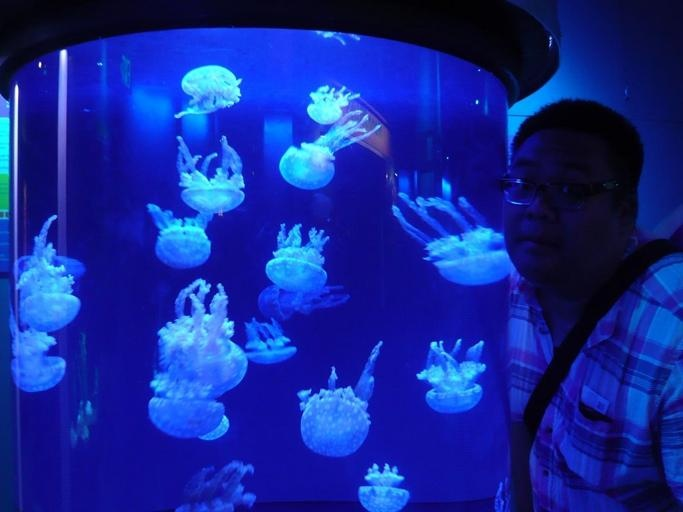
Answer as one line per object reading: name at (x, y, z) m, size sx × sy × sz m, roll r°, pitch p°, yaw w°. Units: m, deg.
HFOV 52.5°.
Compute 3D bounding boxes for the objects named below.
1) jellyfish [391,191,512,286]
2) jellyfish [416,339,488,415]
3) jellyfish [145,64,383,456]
jellyfish at (0.471, -0.113, 2.766) m, size 0.355 × 0.400 × 0.361 m, roll 3°, pitch 8°, yaw 8°
jellyfish at (0.440, 0.483, 2.739) m, size 0.267 × 0.316 × 0.221 m, roll 3°, pitch 7°, yaw 16°
jellyfish at (-0.308, 0.033, 2.621) m, size 0.837 × 1.351 × 0.606 m, roll -1°, pitch 24°, yaw -12°
